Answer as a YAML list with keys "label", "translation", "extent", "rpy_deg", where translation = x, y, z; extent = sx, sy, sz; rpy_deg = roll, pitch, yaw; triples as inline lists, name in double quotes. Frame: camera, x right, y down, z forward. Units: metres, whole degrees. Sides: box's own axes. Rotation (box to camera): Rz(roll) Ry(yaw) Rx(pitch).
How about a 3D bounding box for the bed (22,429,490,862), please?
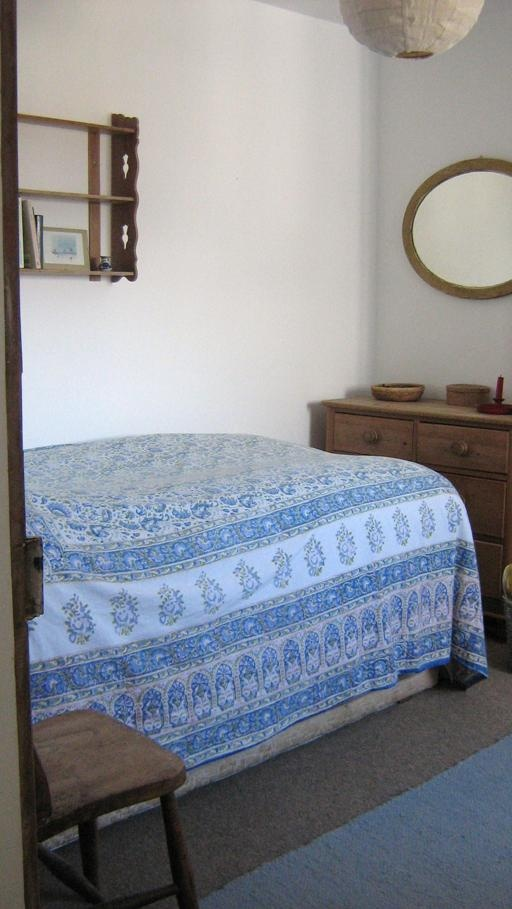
- label: "bed"
  translation: [-0.124, 0.339, 1.878]
  extent: [0.992, 0.581, 0.972]
  rpy_deg: [-3, 5, -41]
